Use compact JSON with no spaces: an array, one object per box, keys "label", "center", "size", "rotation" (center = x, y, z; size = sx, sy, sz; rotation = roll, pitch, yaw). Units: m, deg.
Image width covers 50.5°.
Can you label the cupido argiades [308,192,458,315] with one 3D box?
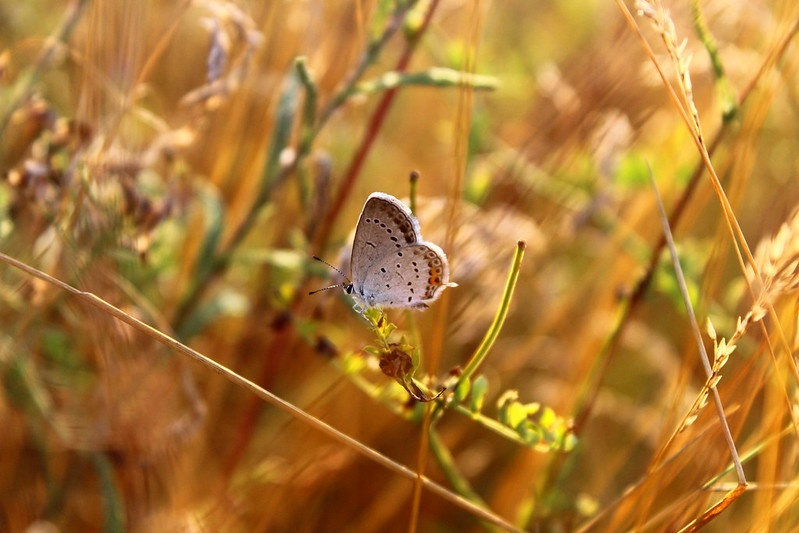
[{"label":"cupido argiades","center":[-0.034,-0.006,2.151],"size":[0.344,0.359,0.273],"rotation":[3,85,-3]}]
